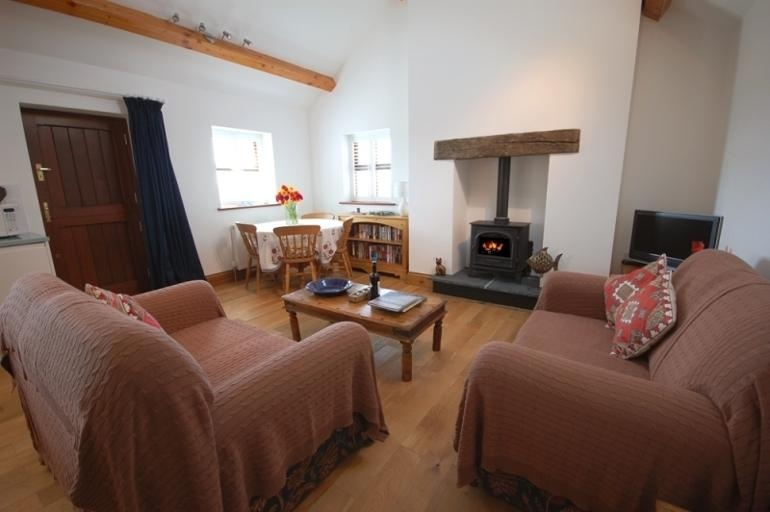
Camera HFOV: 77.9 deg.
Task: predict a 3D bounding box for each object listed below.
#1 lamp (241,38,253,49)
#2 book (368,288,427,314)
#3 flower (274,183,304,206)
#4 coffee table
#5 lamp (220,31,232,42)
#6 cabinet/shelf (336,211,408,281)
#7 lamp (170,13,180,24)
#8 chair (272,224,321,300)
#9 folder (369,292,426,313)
[{"bbox_3d":[-1.643,-2.521,5.650,0.092,0.092,0.094,4,20,17],"label":"lamp"},{"bbox_3d":[0.079,0.390,4.122,0.245,0.061,0.261,12,21,33],"label":"book"},{"bbox_3d":[-1.167,-0.729,5.743,0.266,0.246,0.325,-6,11,-13],"label":"flower"},{"bbox_3d":[-0.043,0.364,4.233,1.179,0.481,0.795,7,16,29],"label":"coffee table"},{"bbox_3d":[-1.822,-2.523,5.456,0.096,0.082,0.154,-1,11,12],"label":"lamp"},{"bbox_3d":[-0.143,-0.137,6.238,0.860,0.732,0.304,6,11,34],"label":"cabinet/shelf"},{"bbox_3d":[-2.195,-2.481,4.986,0.074,0.106,0.085,-20,57,-36],"label":"lamp"},{"bbox_3d":[-1.024,0.001,5.680,0.512,0.798,0.526,-4,15,-13],"label":"chair"},{"bbox_3d":[0.088,0.392,4.117,0.229,0.058,0.247,8,19,31],"label":"folder"}]
